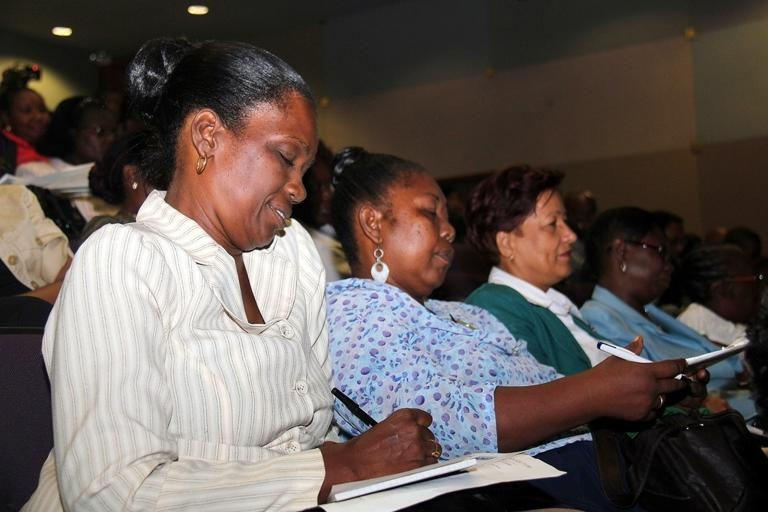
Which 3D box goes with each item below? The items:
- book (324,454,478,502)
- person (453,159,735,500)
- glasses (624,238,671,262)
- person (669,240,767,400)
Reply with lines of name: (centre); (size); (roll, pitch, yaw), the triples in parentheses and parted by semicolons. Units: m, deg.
book: (0.034, 0.652, 2.066); (0.460, 0.050, 0.346); (-18, -10, 40)
person: (0.941, 0.018, 3.409); (0.891, 1.088, 0.689); (-7, -1, 19)
glasses: (1.397, -0.037, 3.691); (0.134, 0.037, 0.136); (15, -11, 4)
person: (2.078, 0.414, 4.747); (0.641, 1.002, 0.938); (-7, 1, 12)
